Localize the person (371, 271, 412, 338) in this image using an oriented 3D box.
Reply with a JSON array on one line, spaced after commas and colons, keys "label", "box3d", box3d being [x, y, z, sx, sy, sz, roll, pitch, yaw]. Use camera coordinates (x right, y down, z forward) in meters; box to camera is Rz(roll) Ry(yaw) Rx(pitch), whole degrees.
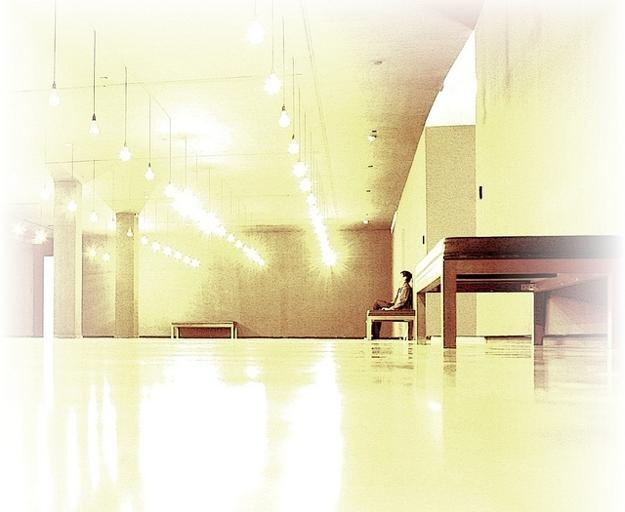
[{"label": "person", "box3d": [0.975, 0.591, 7.793, 0.414, 0.874, 0.446, 4, 10, 12]}]
